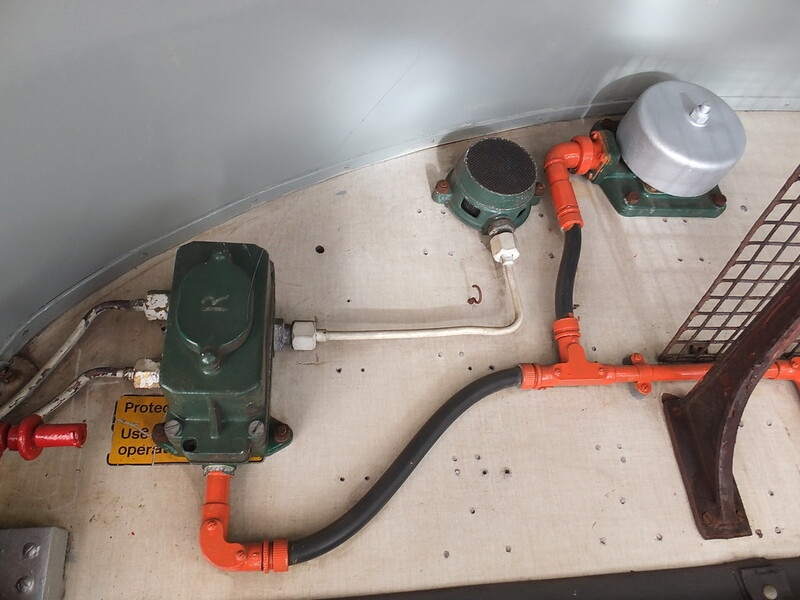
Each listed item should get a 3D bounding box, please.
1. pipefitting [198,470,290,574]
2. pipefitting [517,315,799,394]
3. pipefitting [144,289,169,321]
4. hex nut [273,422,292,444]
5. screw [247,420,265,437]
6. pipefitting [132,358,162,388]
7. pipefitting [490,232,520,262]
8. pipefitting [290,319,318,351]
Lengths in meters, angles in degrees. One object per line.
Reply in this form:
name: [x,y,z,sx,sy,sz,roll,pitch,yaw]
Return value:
pipefitting: [-0.433,0.608,1.933,0.230,0.278,0.090,0,-17,-18]
pipefitting: [0.678,0.173,2.221,0.628,0.254,0.152,-6,-17,0]
pipefitting: [-0.724,0.012,2.072,0.083,0.074,0.062,-2,-17,-12]
hex nut: [-0.339,0.382,2.026,0.058,0.065,0.067,-3,-17,-10]
screw: [-0.384,0.340,1.867,0.041,0.044,0.015,-2,-17,-14]
pipefitting: [-0.717,0.200,1.976,0.064,0.075,0.100,2,-19,-24]
pipefitting: [0.333,-0.166,2.291,0.101,0.098,0.081,-15,-19,26]
pipefitting: [-0.288,0.101,2.106,0.080,0.087,0.037,-3,-17,-8]
